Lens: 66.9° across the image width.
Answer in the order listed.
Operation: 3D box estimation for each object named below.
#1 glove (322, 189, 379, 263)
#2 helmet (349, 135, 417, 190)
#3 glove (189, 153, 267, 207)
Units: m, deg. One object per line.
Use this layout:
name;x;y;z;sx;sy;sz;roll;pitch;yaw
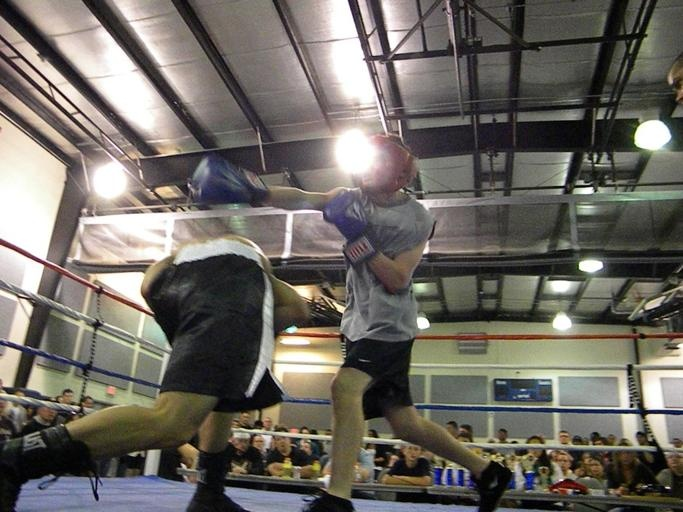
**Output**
glove;0.057;-0.130;2.457;0.241;0.352;0.269;-5;-28;19
helmet;0.142;-0.454;2.642;0.410;0.250;0.393;7;-2;2
glove;-0.509;-0.317;2.268;0.397;0.198;0.103;12;-45;-8
